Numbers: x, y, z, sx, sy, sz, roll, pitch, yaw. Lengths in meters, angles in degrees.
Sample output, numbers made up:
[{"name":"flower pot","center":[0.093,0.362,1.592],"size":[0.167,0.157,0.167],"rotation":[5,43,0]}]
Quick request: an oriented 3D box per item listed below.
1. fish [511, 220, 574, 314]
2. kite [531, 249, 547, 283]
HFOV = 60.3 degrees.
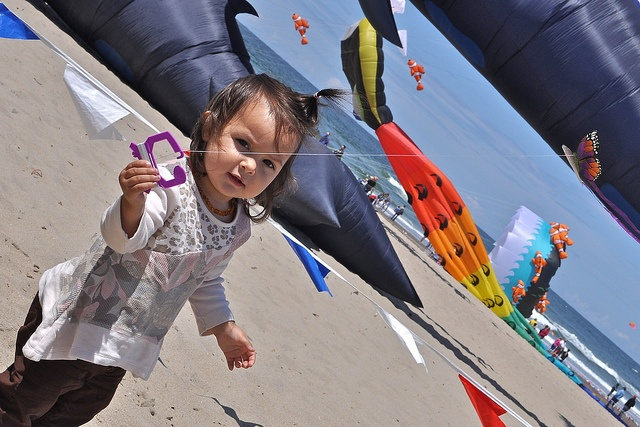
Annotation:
[{"name":"fish","center":[5.566,1.231,14.336],"size":[1.616,3.165,1.315],"rotation":[2,-2,-3]},{"name":"kite","center":[5.479,1.317,14.111],"size":[0.412,0.777,0.240],"rotation":[9,9,-15]}]
